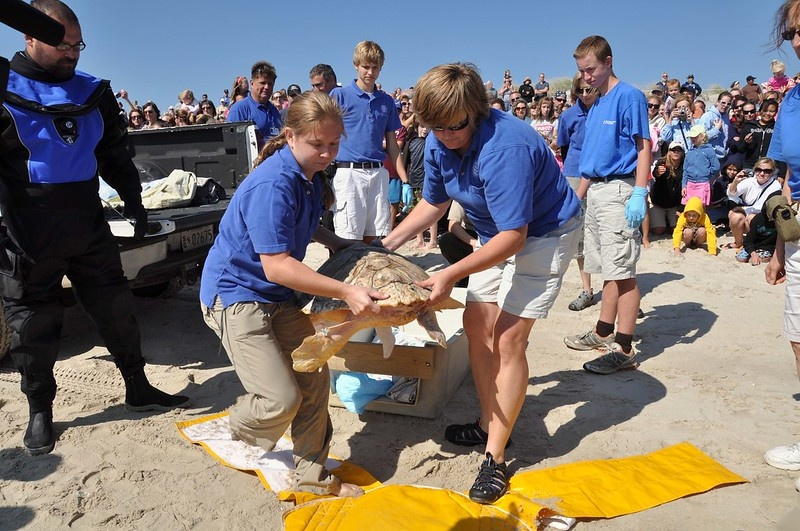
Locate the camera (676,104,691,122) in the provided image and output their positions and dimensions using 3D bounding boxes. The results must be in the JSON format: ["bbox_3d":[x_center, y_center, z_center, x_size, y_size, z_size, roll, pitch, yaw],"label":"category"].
[{"bbox_3d":[4.654,-2.515,9.769,0.281,0.248,0.105,2,-1,-27],"label":"camera"}]

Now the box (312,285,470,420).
[{"bbox_3d":[0.202,0.756,4.969,0.858,0.392,1.126,-1,13,20],"label":"box"}]

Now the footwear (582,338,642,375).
[{"bbox_3d":[1.935,0.851,5.470,0.598,0.247,0.212,-6,6,-8],"label":"footwear"}]

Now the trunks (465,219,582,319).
[{"bbox_3d":[0.835,-0.009,4.089,0.746,0.657,0.445,4,16,14],"label":"trunks"}]

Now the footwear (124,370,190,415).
[{"bbox_3d":[-1.898,1.053,4.831,0.618,0.382,0.244,-2,13,-21],"label":"footwear"}]

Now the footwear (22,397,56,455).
[{"bbox_3d":[-2.687,1.231,4.418,0.199,0.280,0.489,2,-3,-25],"label":"footwear"}]

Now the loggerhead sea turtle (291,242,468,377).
[{"bbox_3d":[-0.258,0.224,3.884,0.966,0.317,0.977,-14,19,-41],"label":"loggerhead sea turtle"}]

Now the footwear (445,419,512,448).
[{"bbox_3d":[0.606,1.274,4.534,0.556,0.200,0.184,3,39,8],"label":"footwear"}]
